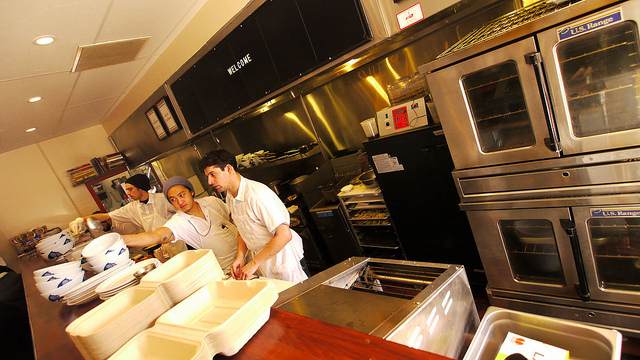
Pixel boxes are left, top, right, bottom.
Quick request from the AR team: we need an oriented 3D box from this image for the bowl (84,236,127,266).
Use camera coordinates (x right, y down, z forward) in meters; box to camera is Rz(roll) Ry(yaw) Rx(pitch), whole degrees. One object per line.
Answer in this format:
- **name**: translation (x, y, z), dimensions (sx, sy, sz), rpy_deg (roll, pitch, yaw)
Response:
- **bowl**: translation (-1.849, 0.640, 3.187), dimensions (0.254, 0.146, 0.246), rpy_deg (-25, 17, 8)

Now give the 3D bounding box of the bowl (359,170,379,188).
- **bowl**: translation (0.554, -0.003, 4.111), dimensions (0.202, 0.083, 0.187), rpy_deg (-18, 29, 10)

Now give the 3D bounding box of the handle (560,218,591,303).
- **handle**: translation (2.134, 0.687, 3.022), dimensions (0.146, 0.567, 0.105), rpy_deg (-17, 5, 30)

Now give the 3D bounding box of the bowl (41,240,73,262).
- **bowl**: translation (-3.184, 0.890, 4.401), dimensions (0.292, 0.097, 0.251), rpy_deg (-22, 4, 25)

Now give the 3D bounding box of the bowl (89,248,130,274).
- **bowl**: translation (-1.855, 0.732, 3.235), dimensions (0.249, 0.100, 0.236), rpy_deg (-22, 7, 3)

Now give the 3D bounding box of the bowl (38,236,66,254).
- **bowl**: translation (-3.199, 0.776, 4.358), dimensions (0.256, 0.082, 0.160), rpy_deg (-38, 1, 9)

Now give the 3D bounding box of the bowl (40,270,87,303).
- **bowl**: translation (-2.258, 0.963, 3.218), dimensions (0.286, 0.118, 0.276), rpy_deg (-24, 9, 4)

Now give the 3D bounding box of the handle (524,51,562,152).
- **handle**: translation (1.777, -0.598, 2.892), dimensions (0.170, 0.800, 0.131), rpy_deg (-20, 10, -13)

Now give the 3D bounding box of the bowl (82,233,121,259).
- **bowl**: translation (-1.981, 0.600, 3.327), dimensions (0.259, 0.106, 0.244), rpy_deg (-19, 26, 10)

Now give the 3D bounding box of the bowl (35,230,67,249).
- **bowl**: translation (-3.215, 0.719, 4.380), dimensions (0.333, 0.109, 0.123), rpy_deg (-18, 3, -33)

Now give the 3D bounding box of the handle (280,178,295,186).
- **handle**: translation (-0.465, 0.030, 5.277), dimensions (0.192, 0.092, 0.297), rpy_deg (-16, 4, 3)

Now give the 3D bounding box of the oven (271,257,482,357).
- **oven**: translation (0.417, 0.736, 2.646), dimensions (0.973, 0.559, 0.959), rpy_deg (-1, 8, 39)

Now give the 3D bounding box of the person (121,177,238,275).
- **person**: translation (-1.518, 0.498, 3.912), dimensions (0.638, 1.093, 0.409), rpy_deg (-32, 44, 18)
